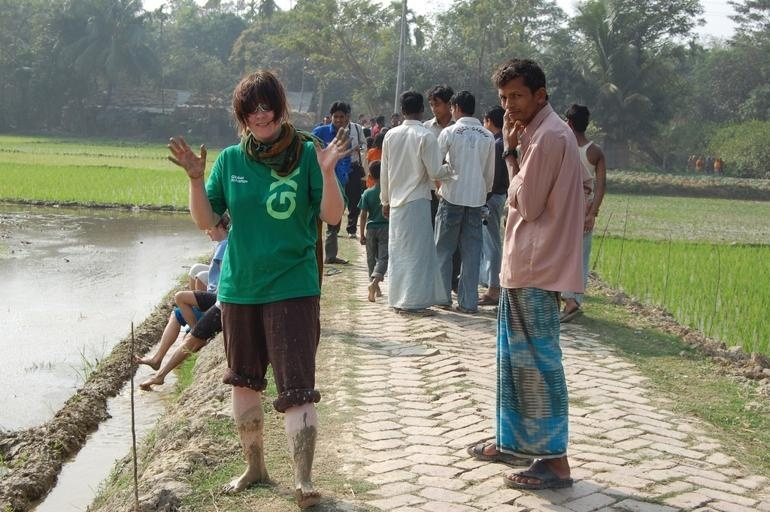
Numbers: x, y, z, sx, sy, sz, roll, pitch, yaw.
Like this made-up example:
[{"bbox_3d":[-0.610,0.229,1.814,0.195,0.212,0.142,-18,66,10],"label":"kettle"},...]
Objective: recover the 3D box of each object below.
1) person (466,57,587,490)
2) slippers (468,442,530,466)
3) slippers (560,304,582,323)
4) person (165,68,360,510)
[{"bbox_3d":[1.560,0.186,8.756,0.853,4.222,0.728,2,9,6],"label":"person"},{"bbox_3d":[1.181,2.068,9.082,0.602,0.220,0.239,8,7,30],"label":"slippers"},{"bbox_3d":[2.654,0.821,12.384,0.189,0.206,0.504,-34,-14,-11],"label":"slippers"},{"bbox_3d":[-1.132,0.281,8.565,1.393,4.097,0.724,5,9,21],"label":"person"}]
